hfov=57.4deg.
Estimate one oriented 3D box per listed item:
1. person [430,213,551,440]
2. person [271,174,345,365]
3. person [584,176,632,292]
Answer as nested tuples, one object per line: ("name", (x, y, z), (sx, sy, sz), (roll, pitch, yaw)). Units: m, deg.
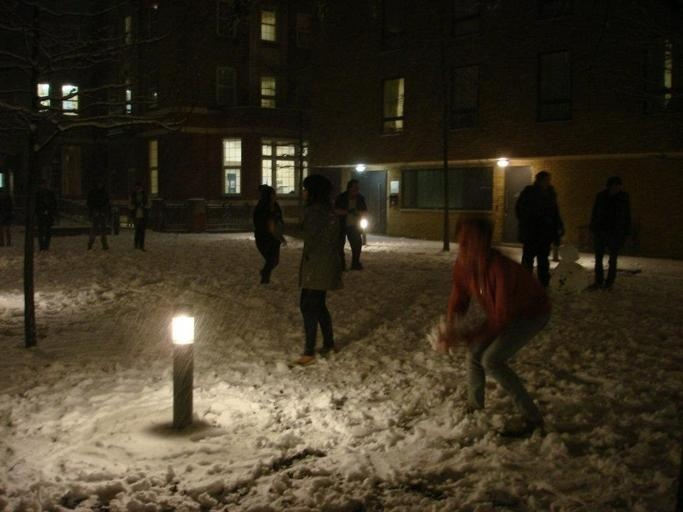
("person", (1.445, 0.647, 5.956), (1.022, 2.054, 0.568), (2, 8, 21))
("person", (-0.310, 0.154, 8.271), (0.612, 2.409, 0.584), (-2, 7, -7))
("person", (5.387, -0.459, 12.529), (0.725, 2.210, 0.740), (2, 8, 24))
